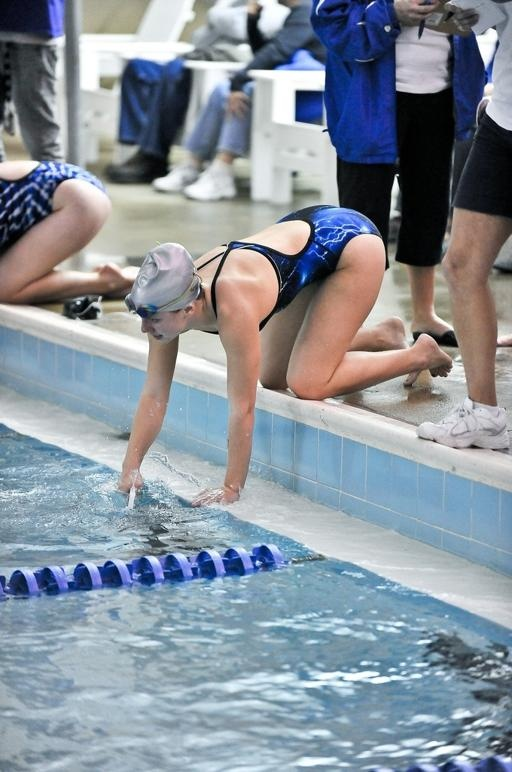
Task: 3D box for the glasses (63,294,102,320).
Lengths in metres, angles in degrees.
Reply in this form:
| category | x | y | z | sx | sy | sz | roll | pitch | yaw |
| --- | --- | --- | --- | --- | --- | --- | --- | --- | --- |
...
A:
| category | x | y | z | sx | sy | sz | roll | pitch | yaw |
| --- | --- | --- | --- | --- | --- | --- | --- | --- | --- |
| glasses | -0.738 | -0.332 | 3.344 | 0.138 | 0.068 | 0.101 | 1 | 22 | 10 |

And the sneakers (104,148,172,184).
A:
| category | x | y | z | sx | sy | sz | roll | pitch | yaw |
| --- | --- | --- | --- | --- | --- | --- | --- | --- | --- |
| sneakers | -0.965 | -1.761 | 6.374 | 0.576 | 0.227 | 0.193 | -8 | 31 | -16 |

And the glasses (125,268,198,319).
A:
| category | x | y | z | sx | sy | sz | roll | pitch | yaw |
| --- | --- | --- | --- | --- | --- | --- | --- | --- | --- |
| glasses | -0.221 | -0.240 | 1.897 | 0.154 | 0.122 | 0.115 | -21 | 29 | -21 |

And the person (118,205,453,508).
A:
| category | x | y | z | sx | sy | sz | roll | pitch | yaw |
| --- | --- | --- | --- | --- | --- | --- | --- | --- | --- |
| person | 0.058 | -0.099 | 2.236 | 1.013 | 0.829 | 0.410 | -7 | 16 | -41 |

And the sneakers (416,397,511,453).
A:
| category | x | y | z | sx | sy | sz | roll | pitch | yaw |
| --- | --- | --- | --- | --- | --- | --- | --- | --- | --- |
| sneakers | 0.490 | 0.085 | 1.840 | 0.228 | 0.123 | 0.092 | 6 | 16 | 22 |

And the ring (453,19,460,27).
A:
| category | x | y | z | sx | sy | sz | roll | pitch | yaw |
| --- | --- | --- | --- | --- | --- | --- | --- | --- | --- |
| ring | 0.402 | -0.733 | 1.592 | 0.006 | 0.008 | 0.021 | 36 | -5 | 44 |

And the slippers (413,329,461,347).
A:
| category | x | y | z | sx | sy | sz | roll | pitch | yaw |
| --- | --- | --- | --- | --- | --- | --- | --- | --- | --- |
| slippers | 0.622 | -0.169 | 2.865 | 0.220 | 0.056 | 0.081 | 6 | 10 | 38 |

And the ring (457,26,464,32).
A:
| category | x | y | z | sx | sy | sz | roll | pitch | yaw |
| --- | --- | --- | --- | --- | --- | --- | --- | --- | --- |
| ring | 0.416 | -0.726 | 1.606 | 0.014 | 0.006 | 0.033 | 6 | 11 | 16 |

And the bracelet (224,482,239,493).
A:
| category | x | y | z | sx | sy | sz | roll | pitch | yaw |
| --- | --- | --- | --- | --- | --- | --- | --- | --- | --- |
| bracelet | -0.065 | 0.269 | 2.069 | 0.024 | 0.012 | 0.032 | 1 | 7 | 43 |

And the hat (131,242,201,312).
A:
| category | x | y | z | sx | sy | sz | roll | pitch | yaw |
| --- | --- | --- | --- | --- | --- | --- | --- | --- | --- |
| hat | -0.206 | -0.264 | 1.904 | 0.183 | 0.141 | 0.137 | -18 | 28 | -18 |
